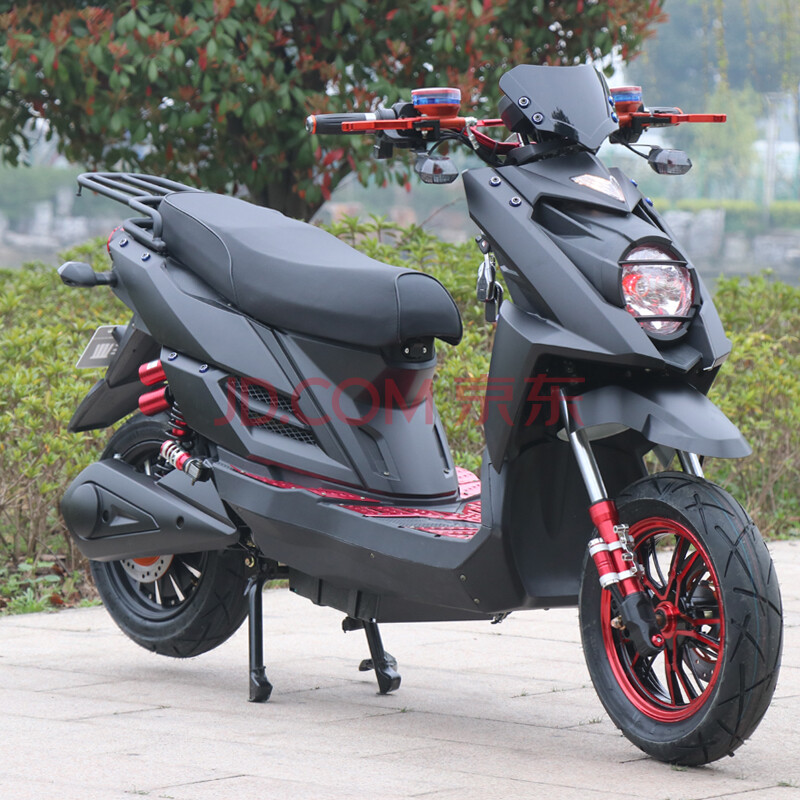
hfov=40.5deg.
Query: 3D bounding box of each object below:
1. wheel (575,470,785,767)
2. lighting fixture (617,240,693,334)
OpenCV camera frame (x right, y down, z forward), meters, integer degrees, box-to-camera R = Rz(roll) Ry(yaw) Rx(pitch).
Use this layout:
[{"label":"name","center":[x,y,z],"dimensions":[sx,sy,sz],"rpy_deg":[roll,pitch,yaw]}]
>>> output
[{"label":"wheel","center":[0.700,0.560,2.700],"dimensions":[0.318,0.741,0.524],"rpy_deg":[-6,13,-18]},{"label":"lighting fixture","center":[0.648,-0.273,2.737],"dimensions":[0.251,0.203,0.058],"rpy_deg":[-2,-9,-22]}]
